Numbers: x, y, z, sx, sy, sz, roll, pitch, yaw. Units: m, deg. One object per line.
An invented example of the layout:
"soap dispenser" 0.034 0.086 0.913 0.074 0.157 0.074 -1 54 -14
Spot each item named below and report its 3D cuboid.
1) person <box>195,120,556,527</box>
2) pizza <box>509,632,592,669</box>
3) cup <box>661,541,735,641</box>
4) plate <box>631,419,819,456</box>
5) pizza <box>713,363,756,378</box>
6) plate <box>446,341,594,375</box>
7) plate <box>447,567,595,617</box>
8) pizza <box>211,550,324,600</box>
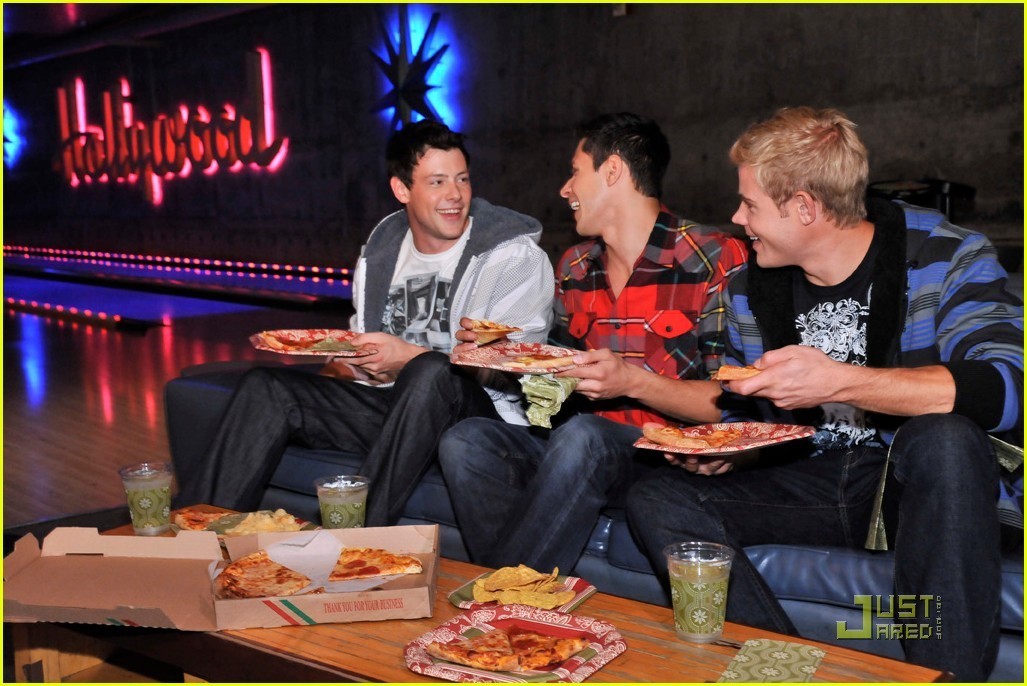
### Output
"person" -0.421 -0.035 2.968 1.248 1.665 0.908 2 5 28
"pizza" 0.075 0.644 1.619 0.158 0.036 0.102 -1 6 0
"cup" 0.425 0.559 1.739 0.149 0.177 0.156 -2 7 0
"plate" 0.586 0.252 2.118 0.441 0.083 0.266 0 6 16
"pizza" 0.603 0.081 2.076 0.095 0.045 0.167 0 6 11
"plate" 0.010 0.016 2.369 0.486 0.098 0.342 -4 6 -36
"plate" 0.026 0.582 1.806 0.189 0.021 0.155 0 0 16
"pizza" -0.579 0.560 1.844 0.206 0.034 0.224 20 16 14
